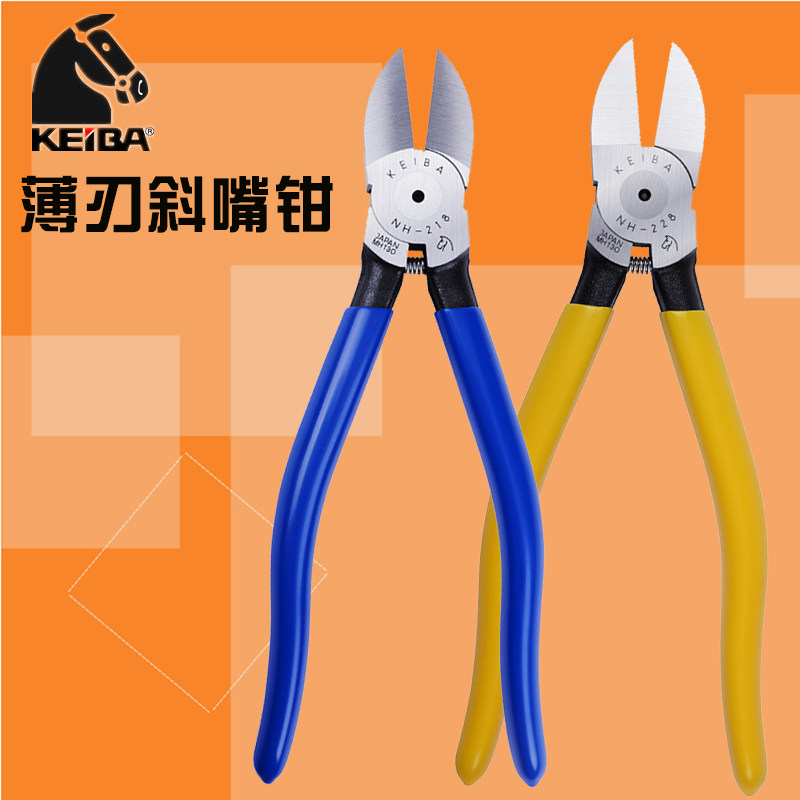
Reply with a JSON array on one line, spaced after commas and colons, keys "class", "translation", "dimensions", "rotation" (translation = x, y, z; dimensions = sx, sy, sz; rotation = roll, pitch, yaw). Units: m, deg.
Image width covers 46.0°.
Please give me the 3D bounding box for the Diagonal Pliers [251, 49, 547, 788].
[{"class": "Diagonal Pliers", "translation": [0.005, 0.017, 1.190], "dimensions": [0.352, 0.789, 0.437], "rotation": [0, -31, 9]}]
